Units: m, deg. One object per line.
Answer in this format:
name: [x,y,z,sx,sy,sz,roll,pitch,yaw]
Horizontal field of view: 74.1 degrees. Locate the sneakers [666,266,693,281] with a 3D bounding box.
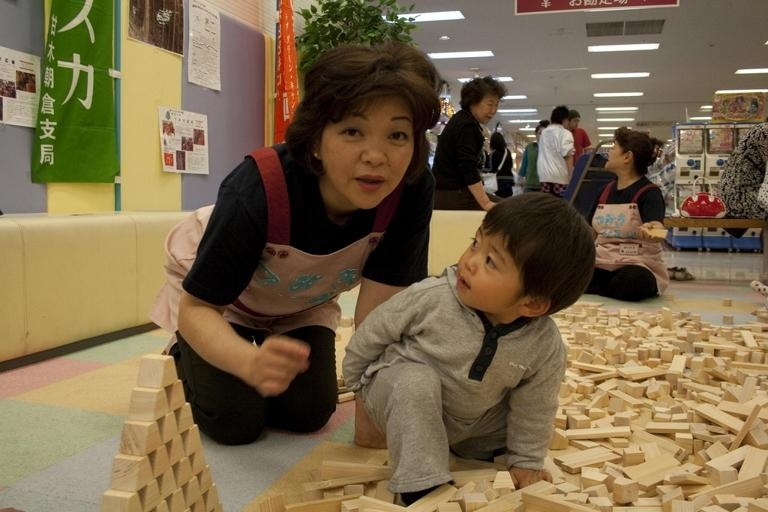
sneakers: [2.890,0.183,5.024,0.220,0.124,0.292,8,8,28]

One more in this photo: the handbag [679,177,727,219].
handbag: [2.970,-0.509,4.830,0.358,0.362,0.141,4,-11,25]

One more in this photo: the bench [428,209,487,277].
bench: [0.524,-0.099,4.154,0.486,0.419,0.503,1,4,-5]

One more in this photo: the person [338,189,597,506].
person: [0.231,0.237,1.491,0.651,0.853,0.360,2,7,-12]
